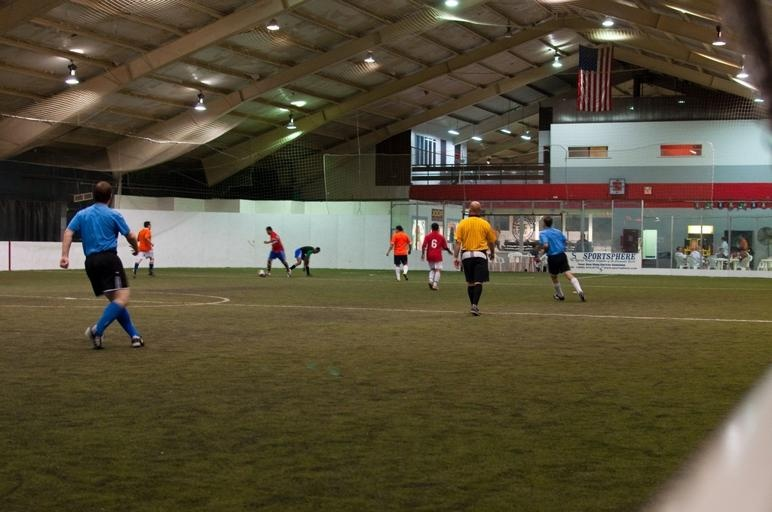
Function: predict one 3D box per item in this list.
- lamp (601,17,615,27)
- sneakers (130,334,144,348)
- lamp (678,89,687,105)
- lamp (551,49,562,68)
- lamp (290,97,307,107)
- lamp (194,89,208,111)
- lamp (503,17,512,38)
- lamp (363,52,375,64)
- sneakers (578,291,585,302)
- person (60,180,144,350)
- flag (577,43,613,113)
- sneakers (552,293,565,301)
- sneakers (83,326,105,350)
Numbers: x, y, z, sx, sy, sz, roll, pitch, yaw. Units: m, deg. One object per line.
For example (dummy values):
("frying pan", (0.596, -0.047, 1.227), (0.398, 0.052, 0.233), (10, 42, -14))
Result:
("lamp", (10.703, -11.220, 30.461), (0.603, 0.207, 0.521), (-2, 2, -9))
("sneakers", (-3.327, 1.140, 8.450), (0.116, 0.101, 0.272), (-1, -7, -6))
("lamp", (17.815, -9.400, 38.057), (0.572, 0.615, 0.372), (-3, 0, 19))
("lamp", (10.213, -11.727, 37.759), (0.565, 1.095, 1.819), (-4, 1, 16))
("lamp", (-4.741, -8.287, 34.384), (0.912, 0.203, 0.946), (-2, 1, -6))
("lamp", (-8.636, -7.214, 29.554), (1.003, 0.796, 0.863), (2, -5, -9))
("lamp", (6.265, -11.565, 32.303), (0.376, 0.900, 1.321), (-4, 1, 11))
("lamp", (-0.814, -9.597, 30.763), (0.567, 0.408, 0.493), (1, 8, 4))
("sneakers", (4.798, 0.998, 15.649), (0.168, 0.173, 0.462), (-7, -26, 31))
("person", (-3.859, 0.078, 8.608), (0.968, 2.191, 1.306), (-4, 0, -24))
("flag", (10.481, -8.865, 31.805), (1.655, 3.315, 0.621), (-4, 0, 14))
("sneakers", (4.484, 1.058, 16.439), (0.306, 0.199, 0.548), (4, 2, 7))
("sneakers", (-3.794, 1.059, 8.248), (0.186, 0.299, 0.294), (-4, 1, -25))
